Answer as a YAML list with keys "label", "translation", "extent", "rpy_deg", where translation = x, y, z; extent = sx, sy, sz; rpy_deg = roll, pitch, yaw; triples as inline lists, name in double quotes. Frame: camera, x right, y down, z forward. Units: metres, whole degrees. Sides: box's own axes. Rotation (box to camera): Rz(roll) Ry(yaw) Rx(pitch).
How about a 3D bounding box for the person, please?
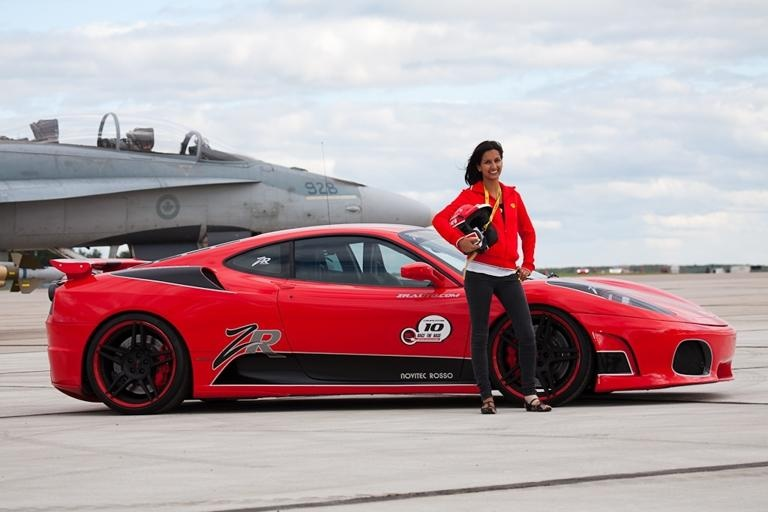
- label: "person"
  translation: [0.932, 0.170, 7.384]
  extent: [1.031, 2.291, 0.523]
  rpy_deg: [3, 0, 3]

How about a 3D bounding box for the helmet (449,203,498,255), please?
- label: "helmet"
  translation: [0.751, -0.230, 7.236]
  extent: [0.373, 0.408, 0.155]
  rpy_deg: [3, 1, -23]

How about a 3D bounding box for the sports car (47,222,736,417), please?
- label: "sports car"
  translation: [-0.135, 0.637, 7.998]
  extent: [4.986, 0.993, 2.325]
  rpy_deg: [-1, -2, 3]

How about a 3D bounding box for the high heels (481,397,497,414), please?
- label: "high heels"
  translation: [0.867, 1.242, 7.222]
  extent: [0.132, 0.141, 0.159]
  rpy_deg: [3, 0, 8]

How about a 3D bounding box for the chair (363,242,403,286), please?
- label: "chair"
  translation: [0.007, 0.067, 7.815]
  extent: [0.413, 0.375, 0.282]
  rpy_deg: [-2, -2, 29]

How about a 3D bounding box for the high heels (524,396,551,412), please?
- label: "high heels"
  translation: [1.269, 1.251, 7.236]
  extent: [0.111, 0.066, 0.217]
  rpy_deg: [1, -5, -38]
